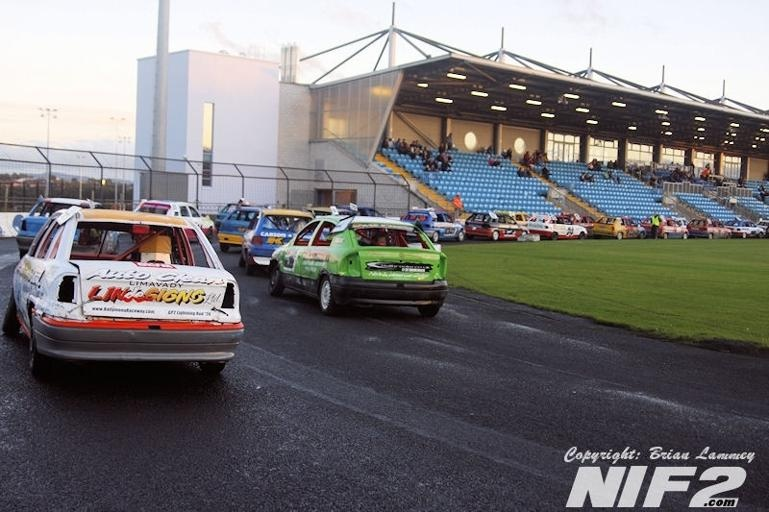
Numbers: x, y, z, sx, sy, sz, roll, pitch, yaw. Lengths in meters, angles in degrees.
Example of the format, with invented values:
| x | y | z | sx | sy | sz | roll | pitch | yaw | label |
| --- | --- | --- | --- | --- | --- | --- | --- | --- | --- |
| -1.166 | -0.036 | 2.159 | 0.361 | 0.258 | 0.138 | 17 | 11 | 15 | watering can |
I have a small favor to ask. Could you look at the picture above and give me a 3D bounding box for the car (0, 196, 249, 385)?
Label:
| x | y | z | sx | sy | sz | roll | pitch | yaw | label |
| --- | --- | --- | --- | --- | --- | --- | --- | --- | --- |
| -3.544 | 0.468 | 7.801 | 2.103 | 2.163 | 3.185 | -3 | 7 | -42 | car |
